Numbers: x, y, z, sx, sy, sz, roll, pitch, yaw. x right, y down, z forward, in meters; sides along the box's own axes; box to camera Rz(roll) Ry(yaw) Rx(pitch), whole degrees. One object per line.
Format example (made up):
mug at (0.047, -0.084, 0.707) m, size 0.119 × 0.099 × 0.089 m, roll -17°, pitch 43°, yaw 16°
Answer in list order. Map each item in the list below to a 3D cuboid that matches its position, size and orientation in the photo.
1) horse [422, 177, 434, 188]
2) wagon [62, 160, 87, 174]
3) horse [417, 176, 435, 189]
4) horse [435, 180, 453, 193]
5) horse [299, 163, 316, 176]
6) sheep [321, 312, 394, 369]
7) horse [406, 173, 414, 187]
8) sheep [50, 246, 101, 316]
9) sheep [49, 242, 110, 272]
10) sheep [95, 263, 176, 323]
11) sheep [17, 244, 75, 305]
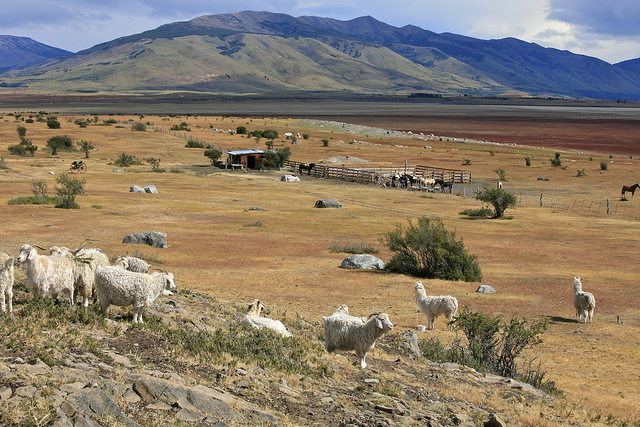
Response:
horse at (13.483, -3.835, 79.390) m, size 1.491 × 0.974 × 0.808 m, roll 8°, pitch 11°, yaw 5°
wagon at (-28.909, -5.478, 74.864) m, size 1.630 × 1.738 × 3.146 m, roll -2°, pitch 3°, yaw 11°
horse at (13.279, -3.930, 79.653) m, size 1.943 × 0.936 × 1.310 m, roll 9°, pitch 10°, yaw 11°
horse at (15.249, -3.408, 78.022) m, size 1.752 × 1.192 × 5.335 m, roll 8°, pitch 10°, yaw 3°
horse at (-1.988, -6.144, 87.099) m, size 0.786 × 1.518 × 2.991 m, roll 0°, pitch 12°, yaw -37°
sheep at (1.299, 4.665, 23.391) m, size 3.175 × 1.941 × 1.221 m, roll -5°, pitch -10°, yaw 40°
horse at (11.420, -4.189, 80.468) m, size 0.912 × 1.353 × 1.015 m, roll 10°, pitch 11°, yaw 7°
sheep at (-8.913, 2.626, 23.820) m, size 1.396 × 1.736 × 3.122 m, roll 5°, pitch -14°, yaw 3°
sheep at (-8.703, 1.710, 23.855) m, size 0.483 × 1.068 × 1.492 m, roll -24°, pitch -14°, yaw 37°
sheep at (-6.712, 2.888, 22.630) m, size 3.152 × 1.824 × 1.128 m, roll 5°, pitch -8°, yaw -16°
sheep at (-9.988, 2.345, 22.706) m, size 1.213 × 2.054 × 2.990 m, roll -5°, pitch -12°, yaw 13°
